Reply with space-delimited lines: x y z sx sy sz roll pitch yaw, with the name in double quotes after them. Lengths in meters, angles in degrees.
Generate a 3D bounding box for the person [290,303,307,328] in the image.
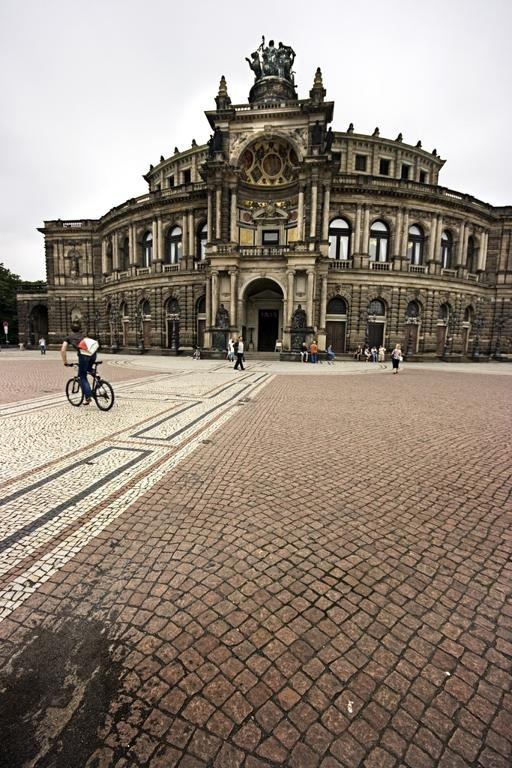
2.192 -3.240 27.381 0.787 1.115 0.274 1 6 1 "person"

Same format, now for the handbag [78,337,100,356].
-2.764 -0.562 8.595 0.258 0.353 0.114 11 -37 -34 "handbag"

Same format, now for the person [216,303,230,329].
-1.822 -3.442 28.437 0.766 1.152 0.390 0 6 -7 "person"

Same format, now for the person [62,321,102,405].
-3.247 -0.394 9.742 0.612 1.449 2.851 -1 6 -19 "person"
